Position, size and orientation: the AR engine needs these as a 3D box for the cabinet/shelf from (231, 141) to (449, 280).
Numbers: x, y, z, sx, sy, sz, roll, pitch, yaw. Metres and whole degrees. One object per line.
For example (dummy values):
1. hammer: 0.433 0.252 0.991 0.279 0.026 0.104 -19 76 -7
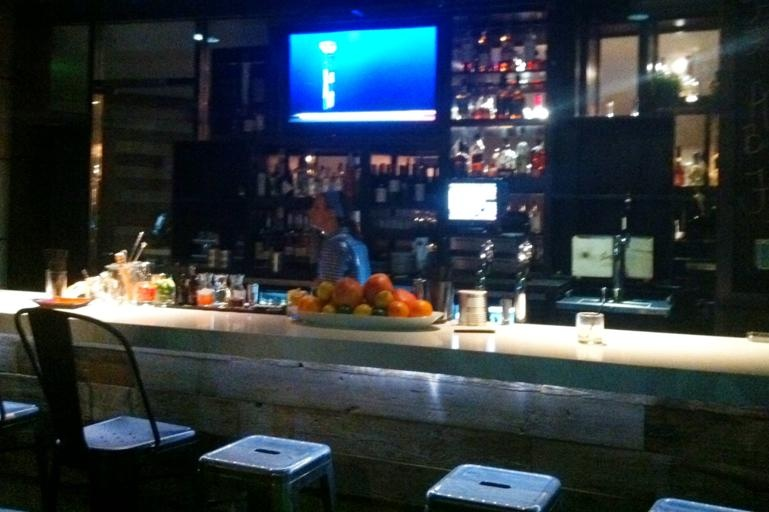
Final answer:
1. cabinet/shelf: -0.456 -0.516 7.028 2.968 1.500 1.355 2 1 7

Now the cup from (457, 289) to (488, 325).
1. cup: 0.473 0.276 3.791 0.158 0.183 0.129 2 3 6

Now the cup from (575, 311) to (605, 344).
1. cup: 1.034 0.354 3.542 0.136 0.148 0.182 2 3 15

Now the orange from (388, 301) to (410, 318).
1. orange: 0.069 0.284 3.703 0.099 0.072 0.085 1 -5 -1

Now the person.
1. person: -0.334 -0.142 5.368 0.445 0.695 0.517 1 3 -6

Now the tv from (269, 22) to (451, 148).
1. tv: -0.170 -1.618 6.584 1.632 0.811 0.061 1 5 14

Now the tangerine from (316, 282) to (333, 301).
1. tangerine: -0.330 0.193 3.907 0.115 0.090 0.103 4 -34 3

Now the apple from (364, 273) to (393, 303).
1. apple: -0.040 0.181 3.872 0.133 0.132 0.129 10 -14 43

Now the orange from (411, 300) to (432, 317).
1. orange: 0.188 0.279 3.705 0.102 0.077 0.090 -7 11 -2

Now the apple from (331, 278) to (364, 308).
1. apple: -0.199 0.202 3.873 0.183 0.139 0.169 6 1 -24

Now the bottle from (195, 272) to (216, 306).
1. bottle: -1.119 0.209 4.373 0.126 0.188 0.216 1 3 -14

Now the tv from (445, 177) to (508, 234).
1. tv: 0.830 -0.475 6.449 0.574 0.383 0.515 0 2 14

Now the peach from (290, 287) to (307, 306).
1. peach: -0.497 0.230 4.048 0.108 0.084 0.038 -6 -31 20

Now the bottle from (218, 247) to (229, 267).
1. bottle: -1.640 0.032 7.135 0.111 0.181 0.083 1 3 2

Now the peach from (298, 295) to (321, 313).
1. peach: -0.422 0.259 3.859 0.108 0.079 0.095 -1 0 -1

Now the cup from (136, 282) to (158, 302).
1. cup: -1.483 0.225 4.432 0.137 0.125 0.132 2 9 0

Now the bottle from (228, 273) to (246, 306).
1. bottle: -0.928 0.209 4.406 0.106 0.175 0.366 1 3 -13
